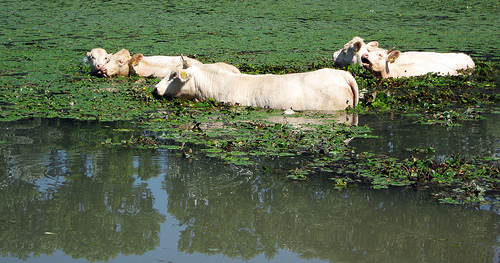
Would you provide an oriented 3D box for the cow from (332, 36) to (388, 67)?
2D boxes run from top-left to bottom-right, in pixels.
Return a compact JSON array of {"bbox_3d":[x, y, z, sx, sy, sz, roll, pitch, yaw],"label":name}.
[{"bbox_3d":[3.594,-2.759,20.750,0.972,0.652,1.548,0,4,-30],"label":"cow"}]

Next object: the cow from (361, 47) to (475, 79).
[{"bbox_3d":[5.615,-2.267,19.648,3.784,0.908,1.836,-10,24,-36],"label":"cow"}]

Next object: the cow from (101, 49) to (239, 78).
[{"bbox_3d":[-2.701,-2.169,19.286,3.921,0.928,1.433,0,-21,-17],"label":"cow"}]

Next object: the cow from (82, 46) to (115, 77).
[{"bbox_3d":[-5.076,-2.393,19.861,0.855,0.789,1.804,0,20,-15],"label":"cow"}]
